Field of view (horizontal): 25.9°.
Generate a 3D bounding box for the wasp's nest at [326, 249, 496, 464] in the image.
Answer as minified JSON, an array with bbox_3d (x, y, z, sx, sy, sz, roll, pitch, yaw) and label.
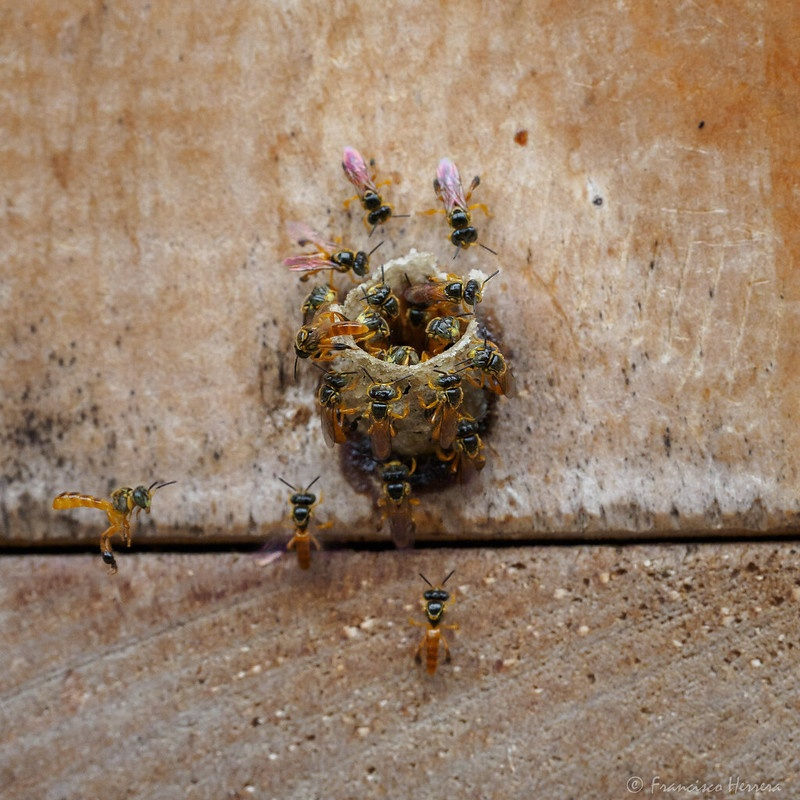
[{"bbox_3d":[0.049,-0.186,7.164,0.791,0.545,0.834,-1,83,0],"label":"wasp's nest"}]
